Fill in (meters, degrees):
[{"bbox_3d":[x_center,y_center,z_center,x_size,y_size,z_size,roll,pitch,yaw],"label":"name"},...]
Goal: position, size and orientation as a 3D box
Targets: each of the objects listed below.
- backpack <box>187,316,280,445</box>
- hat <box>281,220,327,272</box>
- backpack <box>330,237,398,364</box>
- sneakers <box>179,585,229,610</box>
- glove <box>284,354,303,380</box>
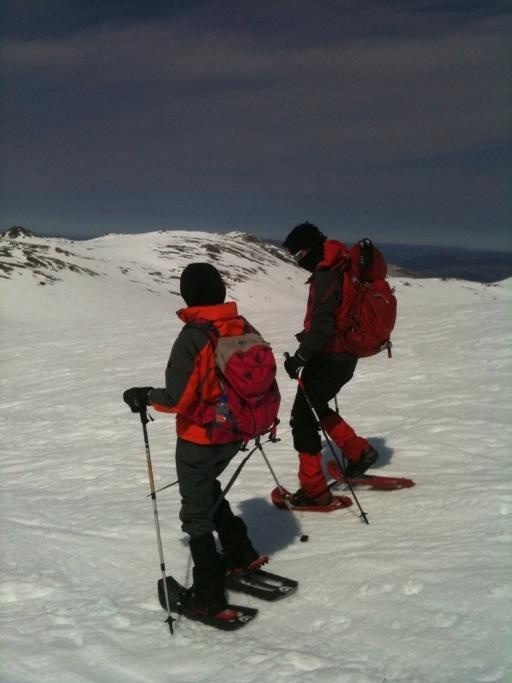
[{"bbox_3d":[-0.170,0.293,4.905,0.646,0.892,0.355,-12,12,-6],"label":"backpack"},{"bbox_3d":[0.400,-0.783,6.190,0.388,0.419,0.310,-5,12,29],"label":"hat"},{"bbox_3d":[0.889,-0.361,6.196,0.473,0.988,0.409,-5,14,33],"label":"backpack"},{"bbox_3d":[-0.365,1.709,4.940,0.314,0.148,0.136,-3,13,31],"label":"sneakers"},{"bbox_3d":[0.357,0.211,6.215,0.179,0.194,0.087,-25,-23,35],"label":"glove"}]
